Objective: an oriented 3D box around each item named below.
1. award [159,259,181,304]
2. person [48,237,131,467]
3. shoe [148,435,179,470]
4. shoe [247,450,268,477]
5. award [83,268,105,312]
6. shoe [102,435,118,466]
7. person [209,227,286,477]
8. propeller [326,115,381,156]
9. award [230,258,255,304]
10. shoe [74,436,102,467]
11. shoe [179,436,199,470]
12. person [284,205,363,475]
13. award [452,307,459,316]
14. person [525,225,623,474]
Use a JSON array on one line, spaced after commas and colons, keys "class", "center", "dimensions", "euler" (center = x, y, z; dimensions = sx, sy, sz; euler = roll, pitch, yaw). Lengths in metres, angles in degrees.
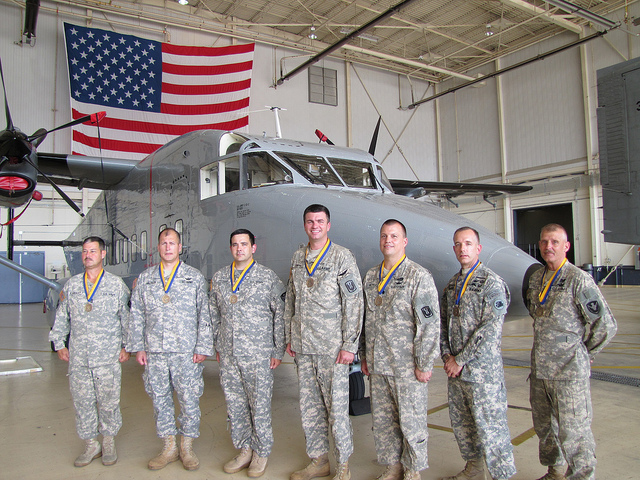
[{"class": "award", "center": [-1.793, 0.511, 6.637], "dimensions": [0.243, 0.449, 0.162], "euler": [-2, 1, -16]}, {"class": "person", "center": [-2.710, 1.290, 6.612], "dimensions": [0.880, 2.559, 0.540], "euler": [-2, 1, -18]}, {"class": "shoe", "center": [-1.832, 2.458, 6.462], "dimensions": [0.172, 0.311, 0.464], "euler": [-7, -1, 32]}, {"class": "shoe", "center": [-0.715, 2.531, 6.303], "dimensions": [0.203, 0.205, 0.257], "euler": [-2, 1, 7]}, {"class": "award", "center": [-2.742, 0.618, 6.682], "dimensions": [0.249, 0.431, 0.117], "euler": [-9, -10, 20]}, {"class": "shoe", "center": [-2.479, 2.453, 6.527], "dimensions": [0.167, 0.321, 0.235], "euler": [-2, 1, -21]}, {"class": "person", "center": [-0.860, 1.263, 6.466], "dimensions": [0.912, 2.282, 0.598], "euler": [-2, 1, 1]}, {"class": "propeller", "center": [0.733, -2.294, 11.422], "dimensions": [1.302, 1.047, 1.122], "euler": [2, 7, -1]}, {"class": "award", "center": [-0.972, 0.499, 6.636], "dimensions": [0.291, 0.460, 0.110], "euler": [4, -12, 0]}, {"class": "shoe", "center": [-2.747, 2.469, 6.535], "dimensions": [0.161, 0.256, 0.409], "euler": [-6, -1, 18]}, {"class": "shoe", "center": [-1.540, 2.449, 6.475], "dimensions": [0.180, 0.277, 0.474], "euler": [2, 1, -29]}, {"class": "person", "center": [0.029, 1.106, 6.233], "dimensions": [0.919, 2.176, 0.494], "euler": [-2, 1, 8]}, {"class": "award", "center": [1.492, 0.786, 6.095], "dimensions": [0.088, 0.093, 0.027], "euler": [-3, -10, 23]}, {"class": "person", "center": [2.648, 1.174, 5.927], "dimensions": [0.840, 2.645, 0.486], "euler": [-2, 1, 30]}]
